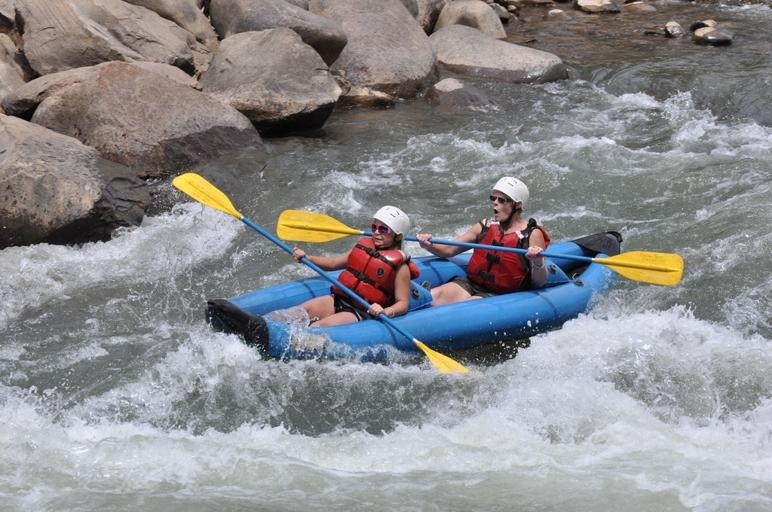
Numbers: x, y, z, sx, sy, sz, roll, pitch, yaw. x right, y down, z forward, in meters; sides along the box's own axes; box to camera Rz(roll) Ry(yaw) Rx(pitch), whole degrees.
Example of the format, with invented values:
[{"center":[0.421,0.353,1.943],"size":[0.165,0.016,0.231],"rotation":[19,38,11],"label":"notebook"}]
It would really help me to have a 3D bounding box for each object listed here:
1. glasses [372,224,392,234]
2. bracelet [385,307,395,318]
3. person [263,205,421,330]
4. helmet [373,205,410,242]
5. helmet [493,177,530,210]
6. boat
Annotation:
[{"center":[-0.056,-0.285,10.182],"size":[0.190,0.109,0.084],"rotation":[23,68,9],"label":"glasses"},{"center":[0.034,0.560,10.113],"size":[0.100,0.052,0.100],"rotation":[-4,65,-3],"label":"bracelet"},{"center":[-0.465,0.181,10.149],"size":[1.783,1.118,1.026],"rotation":[-16,32,-29],"label":"person"},{"center":[0.081,-0.337,10.303],"size":[0.299,0.349,0.295],"rotation":[28,42,34],"label":"helmet"},{"center":[1.333,-0.706,10.613],"size":[0.420,0.262,0.310],"rotation":[10,15,-35],"label":"helmet"},{"center":[0.304,0.554,10.279],"size":[4.411,0.654,1.347],"rotation":[-8,41,-11],"label":"boat"}]
